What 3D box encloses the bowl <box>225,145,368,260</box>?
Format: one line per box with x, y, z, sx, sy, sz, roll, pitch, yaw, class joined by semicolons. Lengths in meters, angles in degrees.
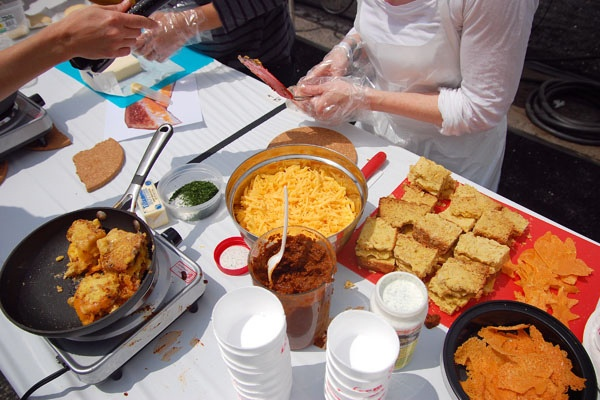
-0.022;0.024;2.403;0.503;0.357;0.623;16;31;31;bowl

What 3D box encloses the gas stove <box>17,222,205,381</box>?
-0.853;0.584;2.223;0.361;0.289;0.780;41;80;21;gas stove

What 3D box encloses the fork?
-0.104;0.155;2.133;0.083;0.073;0.529;2;85;4;fork

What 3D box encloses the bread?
0.766;0.194;2.462;0.808;0.204;0.825;35;69;24;bread

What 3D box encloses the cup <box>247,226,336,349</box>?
-0.038;0.478;2.162;0.360;0.586;0.452;0;46;1;cup

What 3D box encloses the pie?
-1.012;0.399;2.391;0.586;0.495;0.489;-13;31;-29;pie
